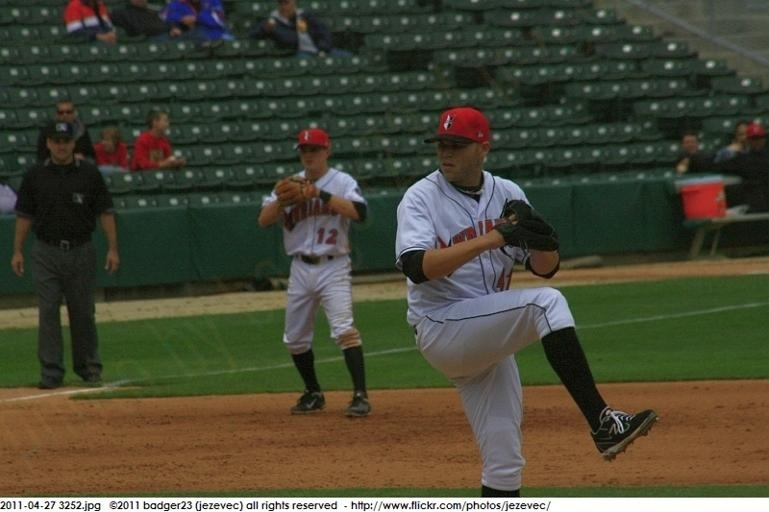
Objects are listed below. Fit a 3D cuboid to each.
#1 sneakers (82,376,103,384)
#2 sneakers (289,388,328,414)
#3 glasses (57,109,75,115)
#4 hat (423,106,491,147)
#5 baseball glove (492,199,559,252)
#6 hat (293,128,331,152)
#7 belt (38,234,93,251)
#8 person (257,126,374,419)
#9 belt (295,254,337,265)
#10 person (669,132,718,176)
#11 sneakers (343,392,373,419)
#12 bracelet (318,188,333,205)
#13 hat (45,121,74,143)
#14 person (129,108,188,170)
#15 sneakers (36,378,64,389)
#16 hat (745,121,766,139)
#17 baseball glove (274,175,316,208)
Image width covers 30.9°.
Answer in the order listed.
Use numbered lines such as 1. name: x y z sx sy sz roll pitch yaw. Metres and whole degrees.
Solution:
1. sneakers: -2.808 1.192 13.487 0.126 0.039 0.091 -1 0 41
2. sneakers: -0.687 1.365 12.914 0.416 0.163 0.136 0 -2 -26
3. glasses: -3.212 -1.463 14.151 0.175 0.080 0.076 -10 11 -36
4. hat: 0.579 -1.040 11.208 0.482 0.202 0.308 0 6 -21
5. baseball glove: 1.152 -0.210 10.979 0.478 0.147 0.337 34 40 -1
6. hat: -0.647 -1.095 13.050 0.364 0.216 0.480 1 3 18
7. belt: -3.077 -0.132 13.464 0.486 0.132 0.117 -6 10 -16
8. person: -0.595 0.126 12.914 0.970 2.584 0.790 -6 10 -3
9. belt: -0.618 0.026 12.896 0.337 0.086 0.069 -3 10 2
10. person: 3.181 -1.043 14.246 0.412 0.410 0.807 -7 17 7
11. sneakers: -0.238 1.342 12.837 0.240 0.210 0.282 -4 9 0
12. bracelet: -0.537 -0.550 12.817 0.138 0.139 0.107 -6 10 -9
13. hat: -3.114 -1.208 13.401 0.233 0.190 0.286 -7 10 -16
14. person: -2.656 -1.333 16.179 0.613 0.740 0.995 -6 9 -9
15. sneakers: -3.186 1.225 13.356 0.262 0.089 0.080 -2 7 2
16. hat: 3.618 -1.232 13.585 0.182 0.124 0.245 -5 6 12
17. baseball glove: -0.808 -0.596 12.720 0.310 0.251 0.193 -11 11 -34
